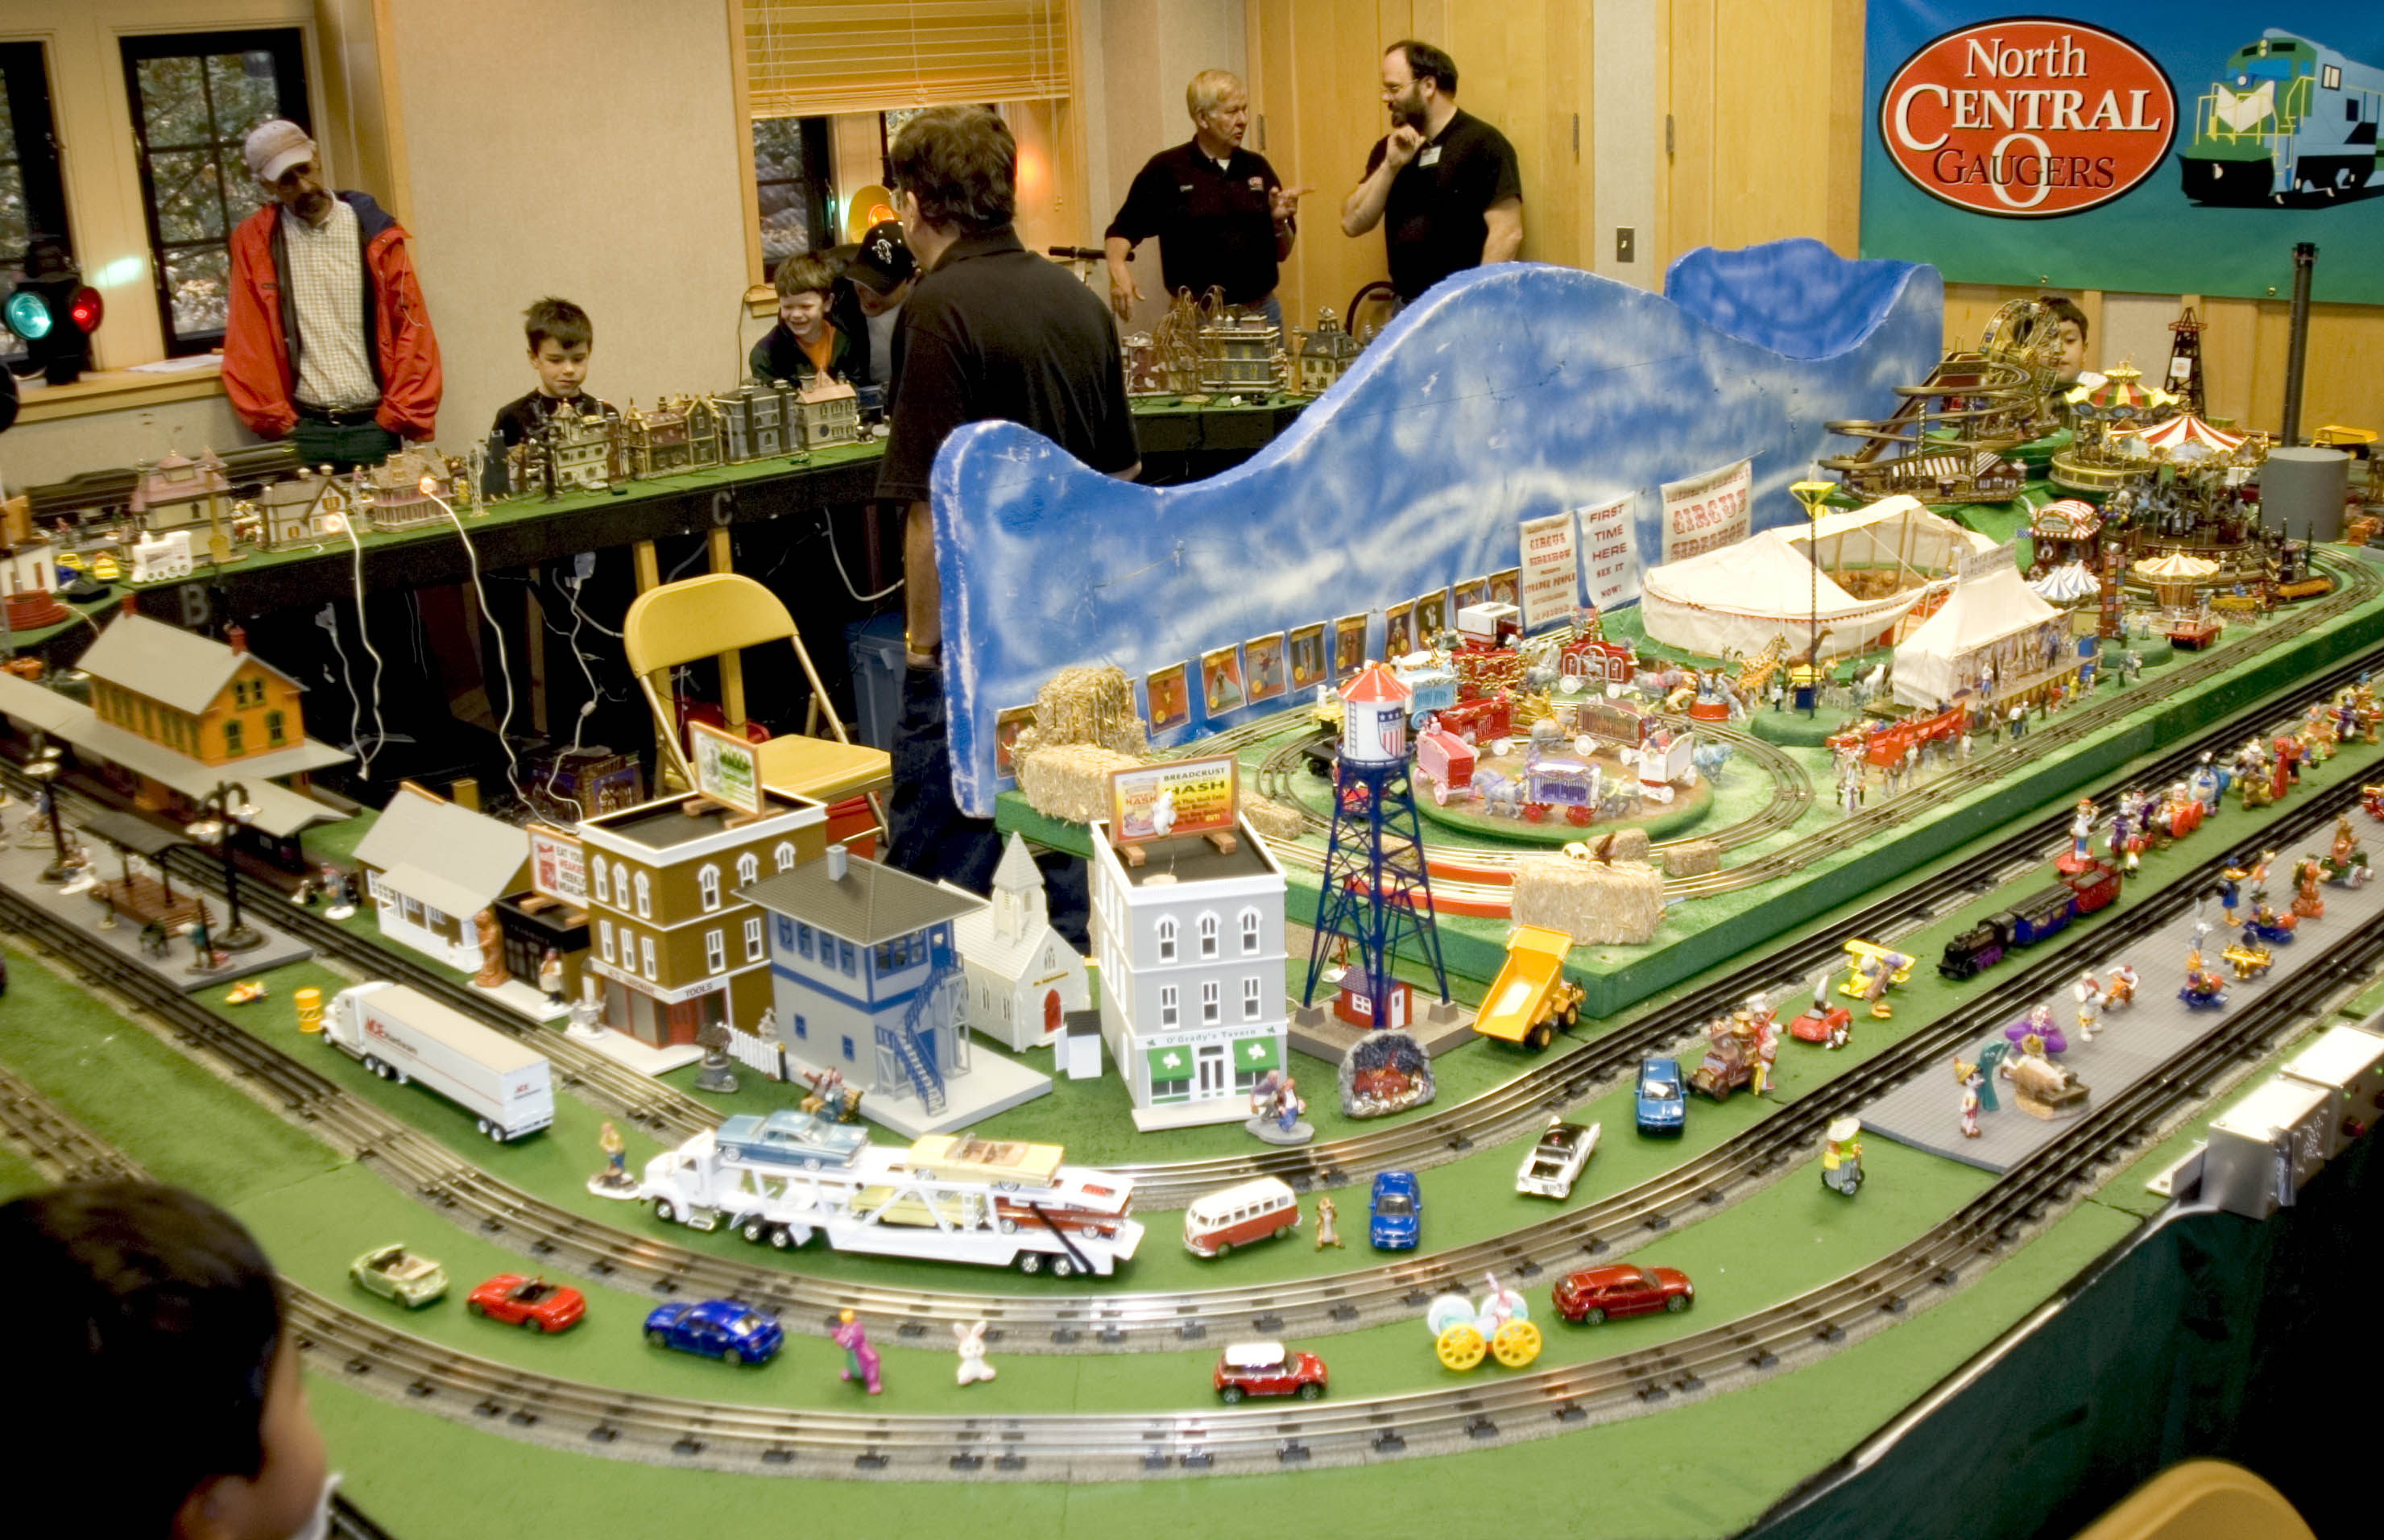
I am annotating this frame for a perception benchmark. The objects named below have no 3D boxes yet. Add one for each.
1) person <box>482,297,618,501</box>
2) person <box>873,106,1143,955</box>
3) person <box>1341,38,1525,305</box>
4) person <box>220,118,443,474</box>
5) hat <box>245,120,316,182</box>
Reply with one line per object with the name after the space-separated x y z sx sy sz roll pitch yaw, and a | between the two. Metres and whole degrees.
-3.317 -1.932 9.436 0.611 0.895 1.162 -8 16 -17 | person
-0.787 -1.016 7.046 1.026 2.915 1.102 -3 15 2 | person
1.597 -3.779 11.701 0.940 1.574 0.665 2 16 19 | person
-4.741 -2.388 10.061 1.038 1.432 0.501 -12 17 -28 | person
-4.775 -3.222 9.668 0.298 0.221 0.416 -41 42 -11 | hat
